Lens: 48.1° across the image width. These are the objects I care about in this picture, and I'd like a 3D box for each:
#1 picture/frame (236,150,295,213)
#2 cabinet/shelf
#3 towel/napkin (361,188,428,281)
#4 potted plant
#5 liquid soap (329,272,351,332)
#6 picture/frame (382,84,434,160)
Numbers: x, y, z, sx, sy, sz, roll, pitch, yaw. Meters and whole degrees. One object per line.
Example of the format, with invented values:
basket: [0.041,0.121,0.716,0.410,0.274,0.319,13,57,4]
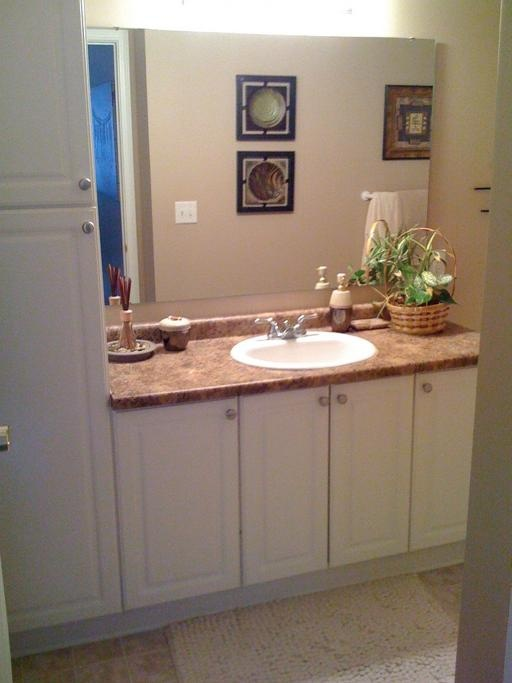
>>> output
picture/frame: [0.027,-0.616,2.188,0.225,0.218,0.029,-5,14,-18]
cabinet/shelf: [0.079,0.491,1.843,0.886,0.470,0.262,-5,10,-15]
towel/napkin: [0.569,-0.447,2.400,0.378,0.409,0.058,-7,16,-22]
potted plant: [0.605,-0.290,2.383,0.498,0.493,0.413,-2,13,-6]
liquid soap: [0.351,-0.167,2.371,0.096,0.225,0.246,2,14,10]
picture/frame: [0.642,-0.894,2.362,0.284,0.285,0.011,-11,22,-26]
